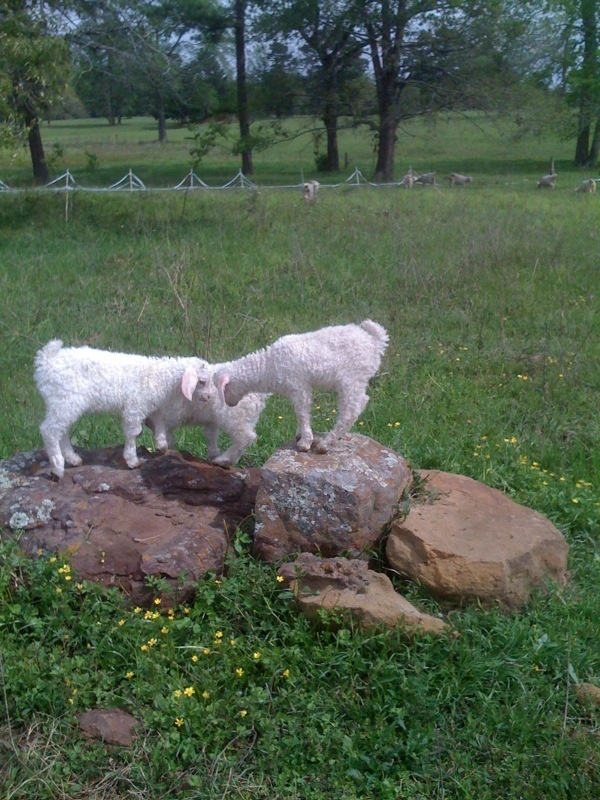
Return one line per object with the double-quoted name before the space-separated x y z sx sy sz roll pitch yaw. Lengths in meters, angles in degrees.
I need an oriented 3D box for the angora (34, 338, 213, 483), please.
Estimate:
"angora" -1.293 0.047 7.288 1.319 0.904 0.503 0 8 -29
